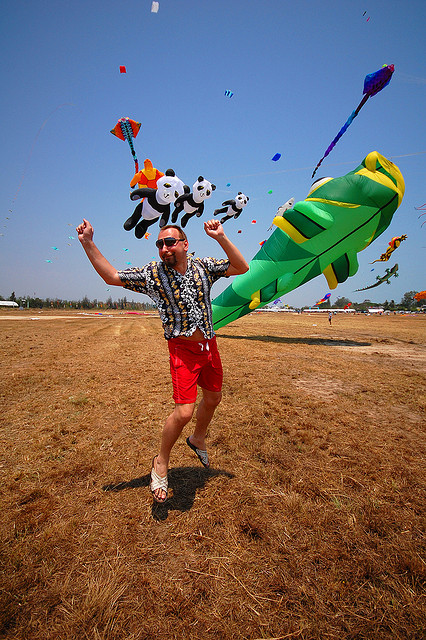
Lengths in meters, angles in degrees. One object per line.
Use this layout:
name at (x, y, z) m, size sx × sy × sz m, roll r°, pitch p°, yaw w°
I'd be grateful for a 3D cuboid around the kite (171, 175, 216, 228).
kite at (-0.194, -0.904, 2.896) m, size 0.239 × 0.219 × 0.468 m, roll 4°, pitch -34°, yaw -45°

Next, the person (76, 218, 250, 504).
person at (-0.281, 0.213, 2.493) m, size 1.137 × 1.657 × 0.605 m, roll -5°, pitch 12°, yaw -25°

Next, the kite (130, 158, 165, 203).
kite at (-0.736, -1.230, 3.677) m, size 0.320 × 0.241 × 0.566 m, roll -15°, pitch -27°, yaw -19°

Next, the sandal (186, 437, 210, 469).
sandal at (-0.135, 0.887, 2.833) m, size 0.081 × 0.313 × 0.112 m, roll -25°, pitch -8°, yaw 13°

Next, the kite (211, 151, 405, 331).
kite at (2.471, -1.627, 8.221) m, size 3.942 × 3.148 × 2.094 m, roll 1°, pitch 10°, yaw 3°

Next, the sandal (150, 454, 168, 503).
sandal at (-0.402, 0.882, 2.349) m, size 0.105 × 0.222 × 0.183 m, roll -1°, pitch 10°, yaw -8°

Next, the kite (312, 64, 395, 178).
kite at (2.341, -2.792, 5.155) m, size 0.827 × 0.845 × 0.585 m, roll -6°, pitch 12°, yaw -34°

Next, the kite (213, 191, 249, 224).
kite at (0.154, -0.807, 2.748) m, size 0.277 × 0.247 × 0.576 m, roll 0°, pitch 7°, yaw 1°

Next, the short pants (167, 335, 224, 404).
short pants at (-0.127, 0.268, 2.508) m, size 0.432 × 0.394 × 0.361 m, roll -3°, pitch 10°, yaw -18°

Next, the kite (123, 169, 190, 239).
kite at (-0.552, -0.832, 2.754) m, size 0.559 × 0.267 × 0.296 m, roll -49°, pitch -7°, yaw 23°
